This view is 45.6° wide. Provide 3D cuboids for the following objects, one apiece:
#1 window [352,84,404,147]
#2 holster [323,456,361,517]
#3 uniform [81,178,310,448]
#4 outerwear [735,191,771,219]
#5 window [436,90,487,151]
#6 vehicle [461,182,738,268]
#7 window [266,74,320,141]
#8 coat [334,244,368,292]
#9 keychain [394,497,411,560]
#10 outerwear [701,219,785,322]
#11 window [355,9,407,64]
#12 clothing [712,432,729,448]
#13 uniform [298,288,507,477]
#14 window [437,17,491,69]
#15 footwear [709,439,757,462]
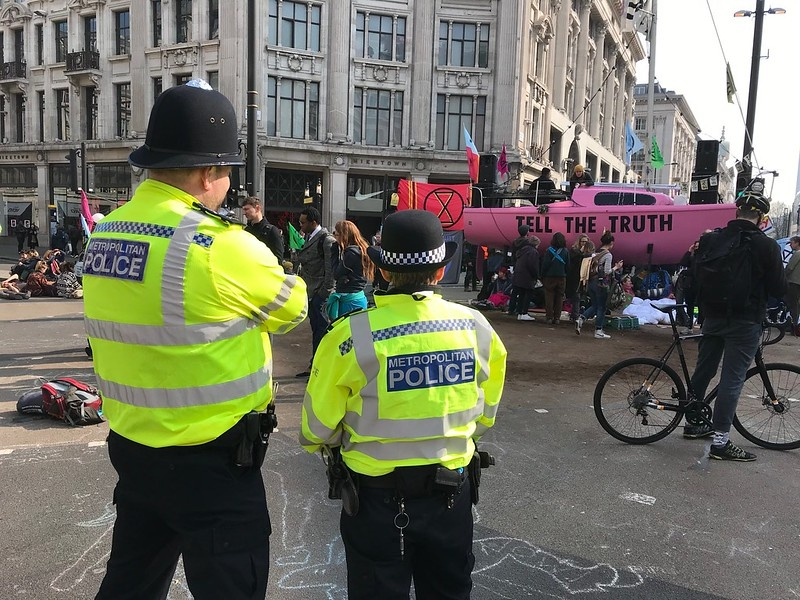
[{"bbox_3d":[-0.924,-7.213,36.581,2.466,2.651,0.118,1,15,-12],"label":"window"},{"bbox_3d":[-0.485,1.526,7.898,0.172,0.473,0.281,-2,-8,-41],"label":"holster"},{"bbox_3d":[-1.888,0.089,8.415,1.625,2.057,1.774,-6,10,-40],"label":"uniform"},{"bbox_3d":[3.964,-1.072,10.679,0.320,0.312,0.259,30,13,15],"label":"outerwear"},{"bbox_3d":[2.384,-6.921,37.330,2.032,2.185,0.063,3,-14,3],"label":"window"},{"bbox_3d":[4.628,-1.803,21.482,5.227,1.604,2.079,1,5,22],"label":"vehicle"},{"bbox_3d":[-3.717,-7.306,35.760,0.169,2.224,2.248,15,12,21],"label":"window"},{"bbox_3d":[-0.618,-0.417,12.235,0.448,0.585,0.399,-12,19,-28],"label":"coat"},{"bbox_3d":[0.019,1.865,7.807,0.103,0.475,0.073,6,8,31],"label":"keychain"},{"bbox_3d":[3.850,-0.331,10.793,0.667,1.147,0.984,-7,11,-43],"label":"outerwear"},{"bbox_3d":[-0.804,-10.185,36.394,2.149,1.623,0.081,1,15,-6],"label":"window"},{"bbox_3d":[3.607,1.554,10.680,0.132,0.172,0.176,-4,3,3],"label":"clothing"},{"bbox_3d":[0.033,0.594,8.386,2.368,1.935,1.323,-1,9,-5],"label":"uniform"},{"bbox_3d":[2.474,-9.989,37.163,2.245,1.665,0.093,-5,15,-25],"label":"window"},{"bbox_3d":[3.820,1.695,10.799,0.576,0.267,0.211,1,-1,-2],"label":"footwear"}]
